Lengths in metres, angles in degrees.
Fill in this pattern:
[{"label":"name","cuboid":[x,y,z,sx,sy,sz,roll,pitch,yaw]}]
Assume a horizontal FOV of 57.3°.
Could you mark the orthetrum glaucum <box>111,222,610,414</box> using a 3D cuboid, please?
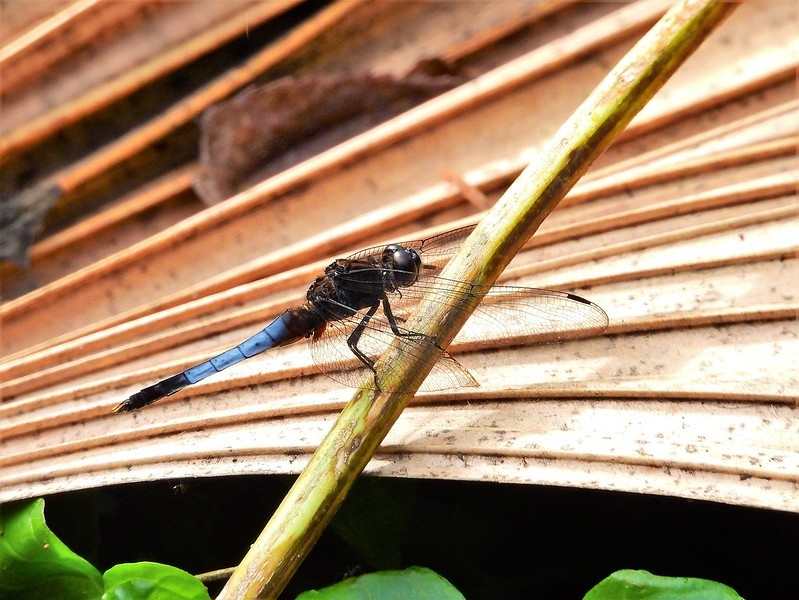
[{"label":"orthetrum glaucum","cuboid":[-0.145,0.092,1.831,0.804,0.197,0.595,-29,21,-13]}]
